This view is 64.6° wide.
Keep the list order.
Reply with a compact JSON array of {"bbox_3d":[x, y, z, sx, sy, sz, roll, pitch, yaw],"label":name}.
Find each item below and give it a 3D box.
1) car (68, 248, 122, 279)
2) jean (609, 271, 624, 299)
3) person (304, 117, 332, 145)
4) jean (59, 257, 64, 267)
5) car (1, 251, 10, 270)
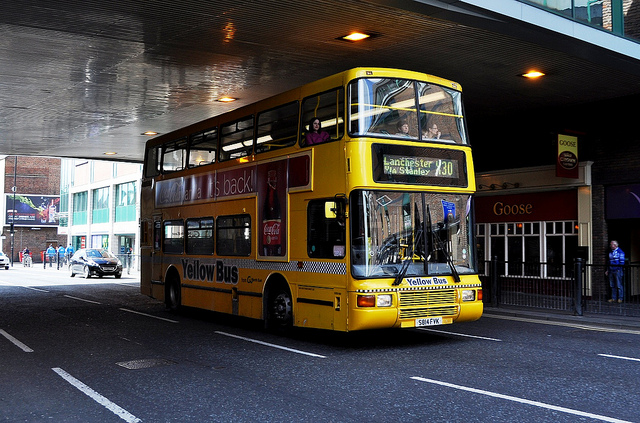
[{"bbox_3d":[-16.581,3.839,37.615,4.189,2.242,2.068,-5,-4,41],"label":"car"},{"bbox_3d":[9.588,2.396,16.590,0.207,0.871,0.524,-1,-3,-28],"label":"jean"},{"bbox_3d":[-0.076,-1.852,11.883,0.537,0.760,0.421,-10,-2,-15],"label":"person"},{"bbox_3d":[-29.106,5.701,57.183,0.290,1.112,1.180,3,0,-33],"label":"jean"},{"bbox_3d":[-32.315,5.088,52.226,0.658,1.620,1.525,-1,-4,-32],"label":"car"}]
